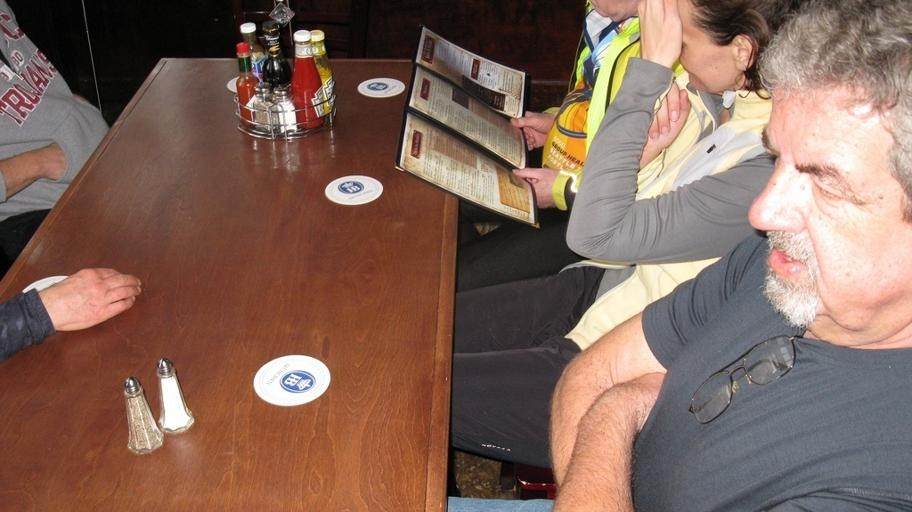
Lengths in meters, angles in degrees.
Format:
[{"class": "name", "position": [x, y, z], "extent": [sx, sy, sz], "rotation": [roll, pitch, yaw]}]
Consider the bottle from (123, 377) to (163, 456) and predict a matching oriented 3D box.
[{"class": "bottle", "position": [-0.785, 0.396, 1.687], "extent": [0.085, 0.169, 0.119], "rotation": [-23, 50, -27]}]

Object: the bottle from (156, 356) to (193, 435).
[{"class": "bottle", "position": [-0.716, 0.355, 1.713], "extent": [0.080, 0.166, 0.122], "rotation": [-21, 49, -25]}]
